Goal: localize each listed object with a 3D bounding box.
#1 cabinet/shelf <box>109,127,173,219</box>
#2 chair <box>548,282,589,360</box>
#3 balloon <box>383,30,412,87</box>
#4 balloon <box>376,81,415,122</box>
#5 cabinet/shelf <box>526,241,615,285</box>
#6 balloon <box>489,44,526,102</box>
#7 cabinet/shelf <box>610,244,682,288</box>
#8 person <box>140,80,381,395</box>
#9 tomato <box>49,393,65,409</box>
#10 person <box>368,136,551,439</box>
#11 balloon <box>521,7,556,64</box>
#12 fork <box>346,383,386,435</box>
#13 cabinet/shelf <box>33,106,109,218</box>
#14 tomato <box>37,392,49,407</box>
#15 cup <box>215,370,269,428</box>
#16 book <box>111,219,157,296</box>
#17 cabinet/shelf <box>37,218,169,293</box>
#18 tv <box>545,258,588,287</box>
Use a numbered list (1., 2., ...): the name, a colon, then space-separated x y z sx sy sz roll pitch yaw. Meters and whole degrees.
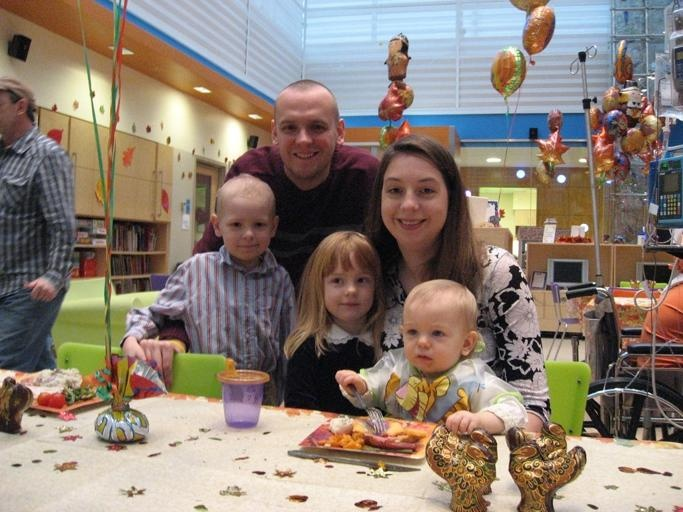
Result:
1. cabinet/shelf: -2.221 -0.896 6.867 1.069 0.968 0.424 13 9 33
2. chair: 2.460 0.769 6.239 0.442 0.844 0.454 3 1 13
3. balloon: 0.646 -2.257 6.578 0.243 0.555 0.550 2 9 5
4. balloon: 0.640 -1.789 6.792 0.448 0.467 0.340 3 0 -24
5. cabinet/shelf: 2.961 0.320 7.738 1.149 0.787 0.601 -2 -4 21
6. balloon: 1.896 -2.098 6.566 0.464 0.650 0.407 6 -17 21
7. cabinet/shelf: 2.990 0.112 5.741 0.482 0.343 0.255 1 6 16
8. person: -0.190 0.310 2.742 1.115 2.163 0.628 -3 12 -5
9. tomato: -0.728 0.376 1.502 0.032 0.040 0.032 10 2 35
10. person: 0.272 0.116 1.869 0.688 0.969 0.548 -2 12 26
11. balloon: 2.068 -2.361 6.188 0.327 0.641 0.215 5 3 -18
12. fork: 0.068 0.398 1.510 0.034 0.036 0.247 -8 8 -18
13. cabinet/shelf: -2.519 -0.924 5.910 1.059 1.122 0.359 13 21 28
14. tomato: -0.773 0.373 1.514 0.029 0.035 0.031 -12 -30 -17
15. cup: -0.253 0.348 1.504 0.131 0.114 0.128 6 8 -1
16. book: -2.341 0.017 6.541 0.264 0.799 0.836 0 -2 21
17. cabinet/shelf: -2.034 0.002 5.031 0.271 0.801 0.846 0 -3 33
18. tv: 2.825 0.196 7.244 0.346 0.256 0.103 0 -8 19
